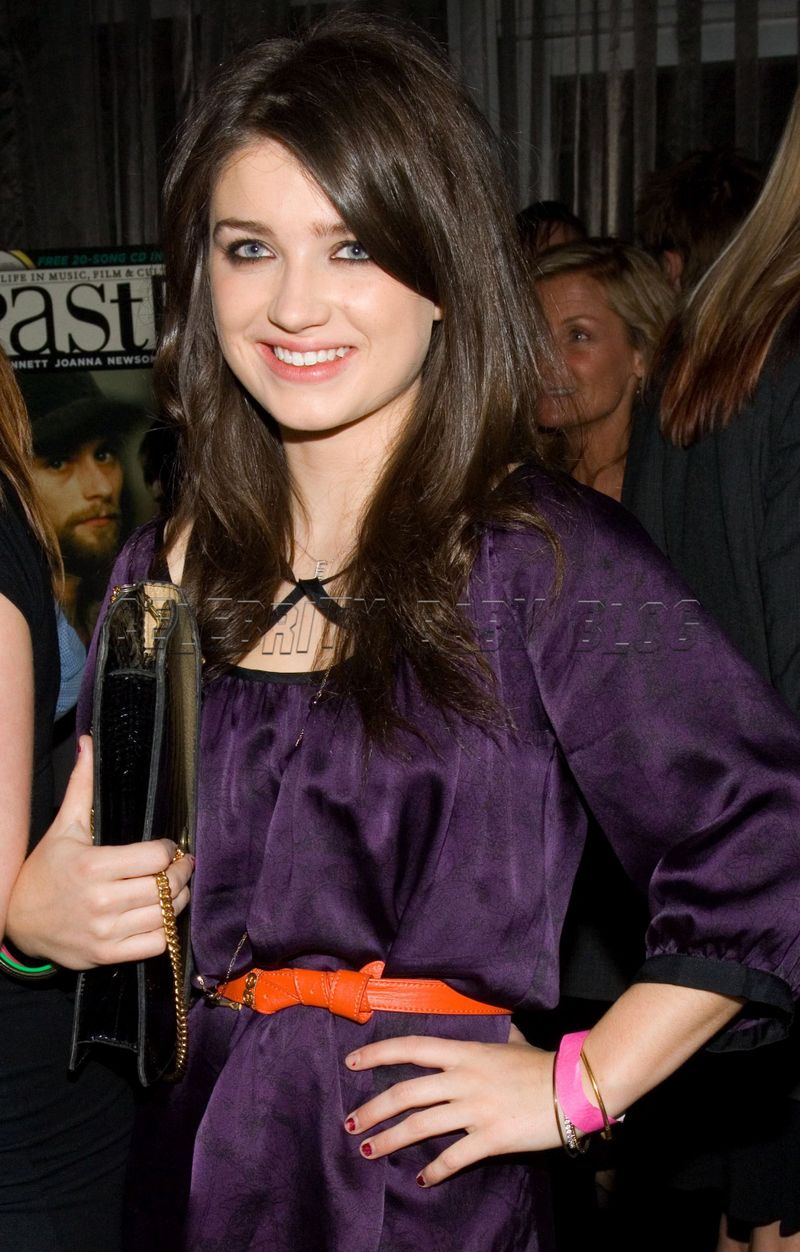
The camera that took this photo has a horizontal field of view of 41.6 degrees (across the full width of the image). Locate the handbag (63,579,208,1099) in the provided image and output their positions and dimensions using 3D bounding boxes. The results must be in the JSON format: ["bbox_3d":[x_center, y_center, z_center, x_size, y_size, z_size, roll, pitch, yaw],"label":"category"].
[{"bbox_3d":[-0.247,0.200,0.957,0.122,0.462,0.156,-1,9,-4],"label":"handbag"}]

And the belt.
[{"bbox_3d":[-0.021,0.347,0.989,0.247,0.044,0.065,4,-6,6],"label":"belt"}]
